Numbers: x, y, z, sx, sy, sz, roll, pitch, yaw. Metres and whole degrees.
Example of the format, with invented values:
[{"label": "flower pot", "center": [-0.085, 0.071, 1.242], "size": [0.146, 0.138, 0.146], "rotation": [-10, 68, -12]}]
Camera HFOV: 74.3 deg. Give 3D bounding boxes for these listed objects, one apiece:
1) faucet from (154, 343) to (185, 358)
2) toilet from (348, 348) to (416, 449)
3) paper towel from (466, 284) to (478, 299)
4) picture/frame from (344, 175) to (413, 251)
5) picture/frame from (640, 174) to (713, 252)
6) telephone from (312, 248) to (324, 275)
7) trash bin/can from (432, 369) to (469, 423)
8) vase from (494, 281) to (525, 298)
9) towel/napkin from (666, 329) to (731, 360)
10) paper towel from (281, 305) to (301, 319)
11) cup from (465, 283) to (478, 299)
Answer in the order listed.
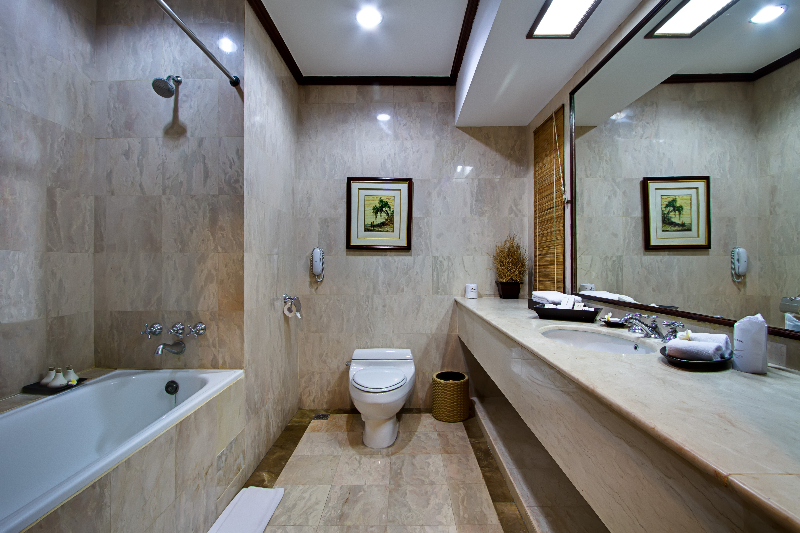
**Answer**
[{"label": "faucet", "center": [-1.478, 0.538, 3.375], "size": [0.087, 0.071, 0.142], "rotation": [23, 35, 28]}, {"label": "toilet", "center": [-0.147, 0.977, 3.925], "size": [0.483, 0.664, 0.651], "rotation": [1, 11, 6]}, {"label": "paper towel", "center": [0.571, 0.200, 4.258], "size": [0.103, 0.110, 0.098], "rotation": [1, 2, 2]}, {"label": "picture/frame", "center": [-0.187, -0.427, 4.302], "size": [0.585, 0.644, 0.044], "rotation": [0, -2, -4]}, {"label": "picture/frame", "center": [1.500, -0.297, 2.847], "size": [0.037, 0.542, 0.431], "rotation": [-2, 2, -40]}, {"label": "telephone", "center": [-0.660, -0.037, 4.234], "size": [0.099, 0.201, 0.071], "rotation": [2, -3, -4]}, {"label": "trash bin/can", "center": [0.405, 1.039, 4.216], "size": [0.302, 0.353, 0.260], "rotation": [0, 3, 4]}, {"label": "vase", "center": [0.882, 0.189, 4.260], "size": [0.165, 0.094, 0.134], "rotation": [0, -5, -1]}, {"label": "towel/napkin", "center": [1.460, 0.399, 2.591], "size": [0.181, 0.075, 0.185], "rotation": [-8, -4, 40]}, {"label": "paper towel", "center": [-0.825, 0.356, 4.114], "size": [0.115, 0.139, 0.299], "rotation": [0, 2, -3]}, {"label": "cup", "center": [0.571, 0.204, 4.258], "size": [0.103, 0.116, 0.104], "rotation": [0, 2, 0]}]
